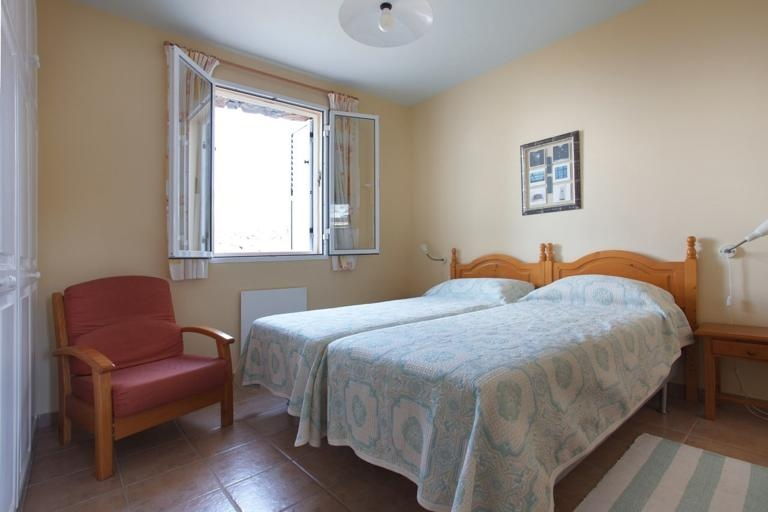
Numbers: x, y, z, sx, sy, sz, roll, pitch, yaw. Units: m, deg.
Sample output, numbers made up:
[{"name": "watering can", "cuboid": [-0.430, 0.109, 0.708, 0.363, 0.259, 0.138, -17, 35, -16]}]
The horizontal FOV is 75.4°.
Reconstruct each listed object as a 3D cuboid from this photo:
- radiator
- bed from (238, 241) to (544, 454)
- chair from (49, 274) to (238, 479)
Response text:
[{"name": "radiator", "cuboid": [-1.027, 0.588, 4.485, 0.643, 0.570, 0.070, -2, 3, -31]}, {"name": "bed", "cuboid": [-0.098, 0.774, 4.626, 1.305, 0.545, 2.271, 2, 6, 42]}, {"name": "chair", "cuboid": [-1.899, 0.843, 3.973, 1.169, 1.302, 0.901, -6, 7, -38]}]
